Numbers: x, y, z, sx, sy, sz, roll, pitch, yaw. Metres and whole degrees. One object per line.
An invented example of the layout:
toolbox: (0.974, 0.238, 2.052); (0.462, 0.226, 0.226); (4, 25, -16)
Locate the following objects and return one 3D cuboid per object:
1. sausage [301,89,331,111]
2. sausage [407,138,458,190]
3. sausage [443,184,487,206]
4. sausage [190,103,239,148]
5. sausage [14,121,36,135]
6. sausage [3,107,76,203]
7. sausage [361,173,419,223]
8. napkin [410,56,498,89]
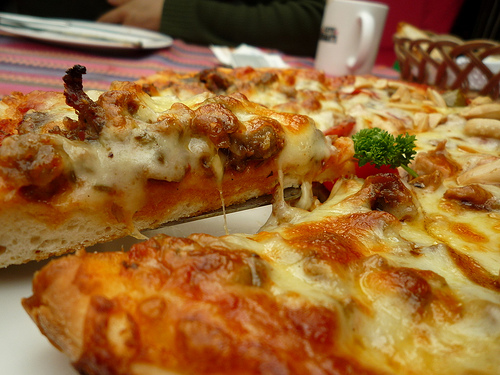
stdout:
sausage: (0.253, -0.362, 2.001); (0.113, 0.030, 0.109); (28, 36, 14)
sausage: (0.577, -0.062, 1.562); (0.126, 0.063, 0.171); (26, 51, 33)
sausage: (0.619, 0.021, 1.400); (0.085, 0.026, 0.062); (-1, 19, 4)
sausage: (-0.103, -0.165, 1.324); (0.122, 0.037, 0.108); (39, 62, 6)
sausage: (-0.576, -0.153, 1.261); (0.040, 0.014, 0.044); (7, 27, 5)
sausage: (-0.546, -0.083, 1.233); (0.151, 0.088, 0.247); (-29, 62, -25)
sausage: (0.381, 0.016, 1.331); (0.113, 0.050, 0.143); (16, 28, 0)
napkin: (1.078, -0.574, 2.510); (0.316, 0.100, 0.322); (0, 8, 0)
